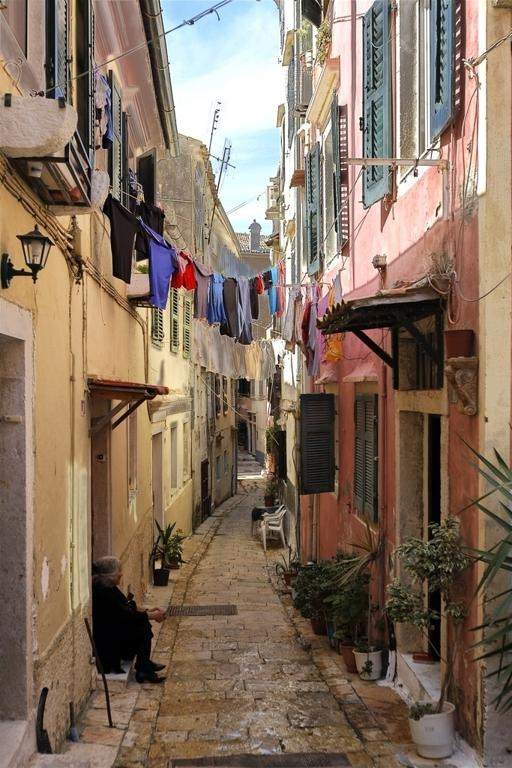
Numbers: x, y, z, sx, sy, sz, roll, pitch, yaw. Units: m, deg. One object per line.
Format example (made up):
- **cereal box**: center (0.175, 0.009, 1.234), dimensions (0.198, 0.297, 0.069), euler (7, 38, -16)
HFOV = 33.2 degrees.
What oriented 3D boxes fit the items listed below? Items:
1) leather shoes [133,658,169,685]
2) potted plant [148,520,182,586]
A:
- **leather shoes**: center (-0.861, 2.373, 7.065), dimensions (0.338, 0.231, 0.124), euler (-2, 6, -23)
- **potted plant**: center (-1.346, 2.508, 12.511), dimensions (0.497, 1.111, 0.501), euler (-1, 1, 21)
